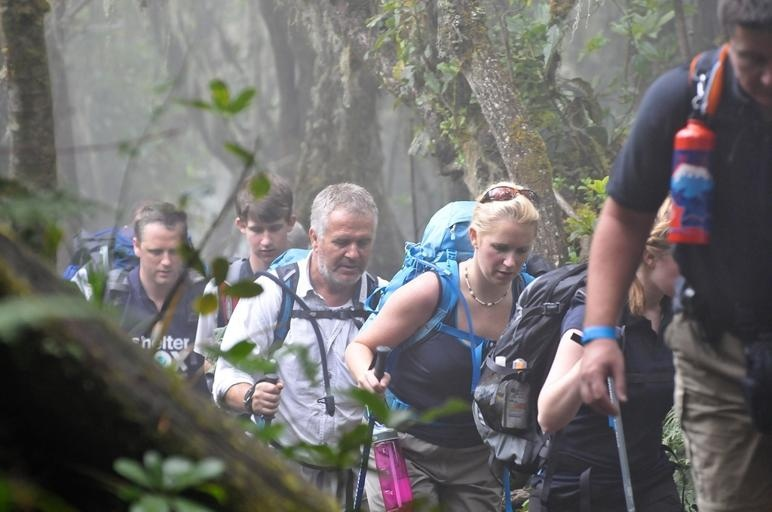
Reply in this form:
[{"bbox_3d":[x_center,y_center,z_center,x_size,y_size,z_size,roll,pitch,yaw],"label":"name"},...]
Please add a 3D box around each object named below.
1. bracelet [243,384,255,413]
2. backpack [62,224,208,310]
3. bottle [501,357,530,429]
[{"bbox_3d":[-0.923,0.957,8.004,0.053,0.146,0.123,3,-3,32],"label":"bracelet"},{"bbox_3d":[-1.652,0.077,7.888,0.471,0.379,0.487,-11,11,2],"label":"backpack"},{"bbox_3d":[0.847,0.878,7.660,0.178,0.536,0.047,4,25,9],"label":"bottle"}]
